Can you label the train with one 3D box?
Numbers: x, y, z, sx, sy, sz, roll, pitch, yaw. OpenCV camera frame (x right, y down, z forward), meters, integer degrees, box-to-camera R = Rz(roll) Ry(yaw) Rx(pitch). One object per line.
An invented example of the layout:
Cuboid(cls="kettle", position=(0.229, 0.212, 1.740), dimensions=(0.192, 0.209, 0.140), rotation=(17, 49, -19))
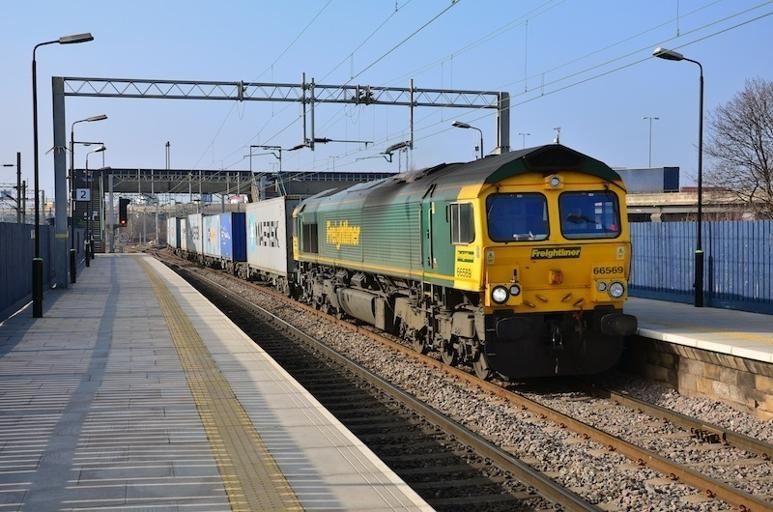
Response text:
Cuboid(cls="train", position=(0.606, -0.206, 19.300), dimensions=(3.777, 5.284, 16.308), rotation=(1, 4, -23))
